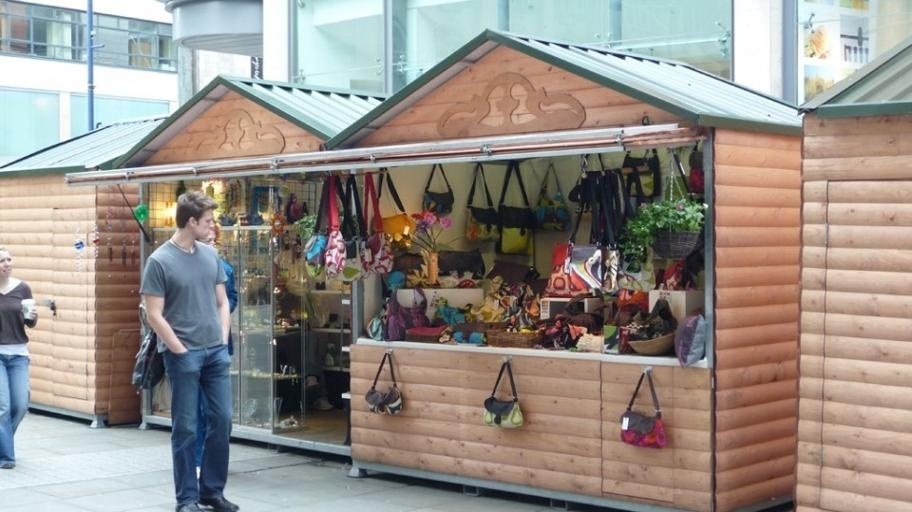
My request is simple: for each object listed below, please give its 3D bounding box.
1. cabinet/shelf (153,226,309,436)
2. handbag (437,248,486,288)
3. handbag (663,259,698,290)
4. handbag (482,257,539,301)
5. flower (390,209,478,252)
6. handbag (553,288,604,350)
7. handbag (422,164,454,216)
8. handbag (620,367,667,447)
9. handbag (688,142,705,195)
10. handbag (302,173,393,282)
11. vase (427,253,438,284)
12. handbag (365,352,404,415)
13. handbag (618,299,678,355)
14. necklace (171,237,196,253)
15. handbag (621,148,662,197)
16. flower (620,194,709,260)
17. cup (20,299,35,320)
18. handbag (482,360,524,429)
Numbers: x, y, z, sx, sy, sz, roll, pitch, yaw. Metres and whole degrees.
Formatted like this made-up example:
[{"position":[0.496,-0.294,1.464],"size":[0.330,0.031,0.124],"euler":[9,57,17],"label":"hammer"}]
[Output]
[{"position":[-3.166,1.073,12.641],"size":[1.065,2.865,1.721],"euler":[-1,-6,8],"label":"cabinet/shelf"},{"position":[0.107,0.129,11.850],"size":[0.685,0.440,0.253],"euler":[0,2,-34],"label":"handbag"},{"position":[2.621,0.203,10.343],"size":[0.322,0.356,0.136],"euler":[3,2,21],"label":"handbag"},{"position":[0.787,0.253,11.772],"size":[0.760,0.417,0.859],"euler":[1,2,1],"label":"handbag"},{"position":[-0.390,-0.343,11.627],"size":[0.908,0.400,0.988],"euler":[6,-19,-44],"label":"flower"},{"position":[1.483,0.761,10.405],"size":[0.492,0.595,0.252],"euler":[2,-6,28],"label":"handbag"},{"position":[-0.227,-0.874,11.808],"size":[0.440,0.692,0.242],"euler":[1,2,-6],"label":"handbag"},{"position":[2.046,1.616,9.590],"size":[0.466,0.818,0.215],"euler":[2,2,9],"label":"handbag"},{"position":[2.794,-1.000,10.290],"size":[0.155,0.594,0.456],"euler":[2,2,14],"label":"handbag"},{"position":[-1.324,-0.372,11.109],"size":[1.096,1.382,0.652],"euler":[1,2,-7],"label":"handbag"},{"position":[-0.306,0.153,11.548],"size":[0.134,0.413,0.124],"euler":[1,2,-3],"label":"vase"},{"position":[-0.883,1.549,10.862],"size":[0.484,0.781,0.208],"euler":[2,2,18],"label":"handbag"},{"position":[2.166,0.784,9.820],"size":[0.630,0.361,0.589],"euler":[-6,-2,40],"label":"handbag"},{"position":[-2.985,-0.134,9.677],"size":[0.223,0.116,0.171],"euler":[23,15,37],"label":"necklace"},{"position":[2.350,-1.064,11.269],"size":[0.554,0.682,0.415],"euler":[5,-5,11],"label":"handbag"},{"position":[2.293,-0.313,9.803],"size":[0.752,0.485,0.723],"euler":[-1,1,11],"label":"flower"},{"position":[-5.487,0.680,11.484],"size":[0.240,0.236,0.228],"euler":[2,-4,0],"label":"cup"},{"position":[0.557,1.570,10.224],"size":[0.470,0.792,0.215],"euler":[2,2,13],"label":"handbag"}]
